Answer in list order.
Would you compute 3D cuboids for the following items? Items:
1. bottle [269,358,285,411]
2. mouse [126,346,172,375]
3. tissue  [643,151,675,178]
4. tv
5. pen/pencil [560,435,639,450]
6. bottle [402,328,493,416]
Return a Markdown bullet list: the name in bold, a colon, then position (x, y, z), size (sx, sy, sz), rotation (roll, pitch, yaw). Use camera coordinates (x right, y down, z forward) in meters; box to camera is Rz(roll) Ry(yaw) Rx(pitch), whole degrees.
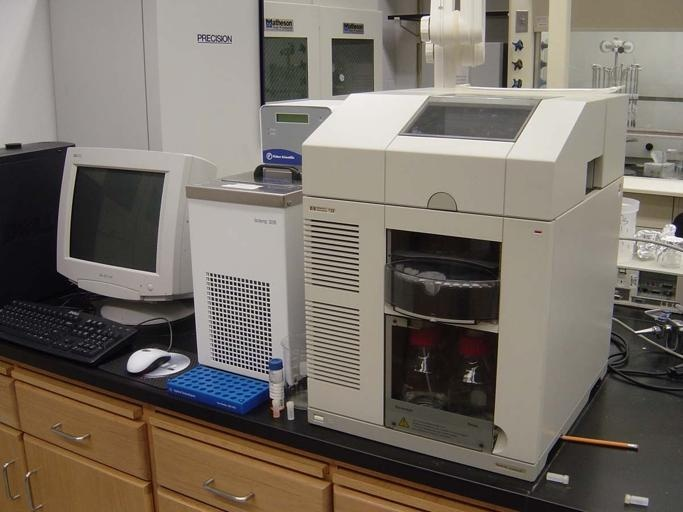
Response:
- **bottle**: position (-0.164, 0.329, 1.537), size (0.039, 0.119, 0.041), rotation (-4, -2, 0)
- **mouse**: position (-0.552, 0.294, 1.720), size (0.061, 0.040, 0.110), rotation (11, 22, 21)
- **tissue **: position (2.330, -0.663, 4.468), size (0.189, 0.202, 0.198), rotation (3, 13, 31)
- **tv**: position (-0.658, -0.064, 1.966), size (0.500, 0.546, 0.276), rotation (6, 8, 29)
- **pen/pencil**: position (0.591, 0.432, 1.400), size (0.148, 0.018, 0.020), rotation (5, 0, 10)
- **bottle**: position (0.245, 0.246, 1.404), size (0.220, 0.226, 0.124), rotation (5, 10, 30)
